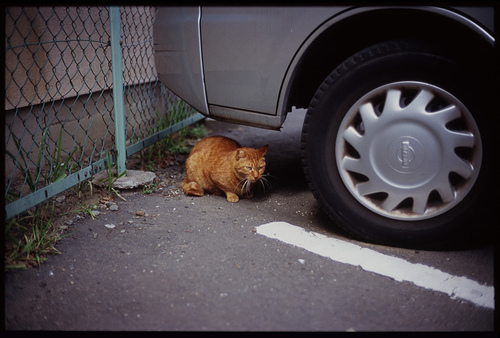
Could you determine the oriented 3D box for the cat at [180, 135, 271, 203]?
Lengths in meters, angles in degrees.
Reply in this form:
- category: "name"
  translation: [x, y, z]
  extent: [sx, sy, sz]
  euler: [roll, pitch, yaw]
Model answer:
- category: "cat"
  translation: [-0.250, -0.014, 3.546]
  extent: [0.526, 0.508, 0.781]
  euler: [-21, 34, -40]
